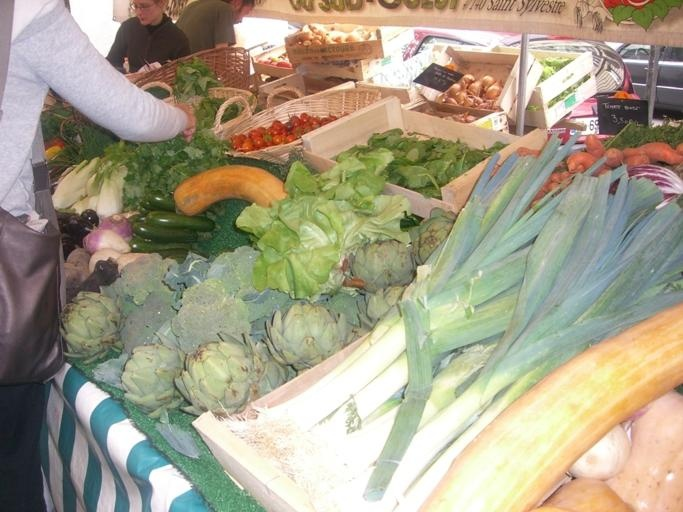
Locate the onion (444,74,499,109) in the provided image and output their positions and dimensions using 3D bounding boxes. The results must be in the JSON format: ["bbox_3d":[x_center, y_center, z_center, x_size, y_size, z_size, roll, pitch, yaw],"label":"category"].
[{"bbox_3d":[1.271,-1.599,4.638,0.498,0.159,0.484,17,53,27],"label":"onion"}]

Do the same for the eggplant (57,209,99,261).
[{"bbox_3d":[-1.537,-0.153,2.773,0.184,0.138,0.299,-9,50,25],"label":"eggplant"}]

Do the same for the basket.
[{"bbox_3d":[-0.846,-1.673,4.684,2.689,1.015,1.956,20,32,39],"label":"basket"}]
